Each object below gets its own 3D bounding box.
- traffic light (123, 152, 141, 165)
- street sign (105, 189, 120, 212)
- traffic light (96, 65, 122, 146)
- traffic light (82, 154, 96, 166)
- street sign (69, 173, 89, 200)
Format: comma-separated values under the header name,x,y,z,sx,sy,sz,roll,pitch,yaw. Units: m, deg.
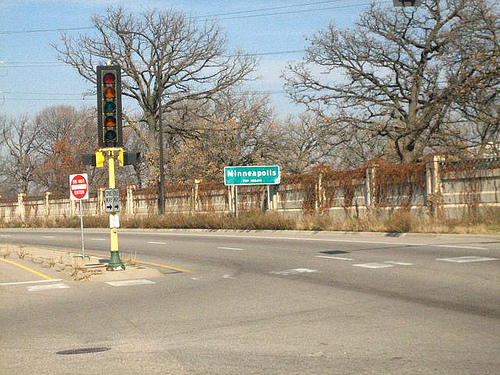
name,x,y,z,sx,sy,sz,roll,pitch,yaw
traffic light,-3.396,-0.819,20.566,0.421,0.353,0.678,-3,3,-6
street sign,-3.934,0.389,20.594,0.357,0.669,0.329,-3,4,-13
traffic light,-3.955,-2.271,20.395,0.621,2.470,0.751,1,-12,-19
traffic light,-4.588,-0.761,20.436,0.290,0.321,0.524,-5,4,-32
street sign,-6.250,0.007,26.312,0.620,0.925,0.816,-3,4,-16
